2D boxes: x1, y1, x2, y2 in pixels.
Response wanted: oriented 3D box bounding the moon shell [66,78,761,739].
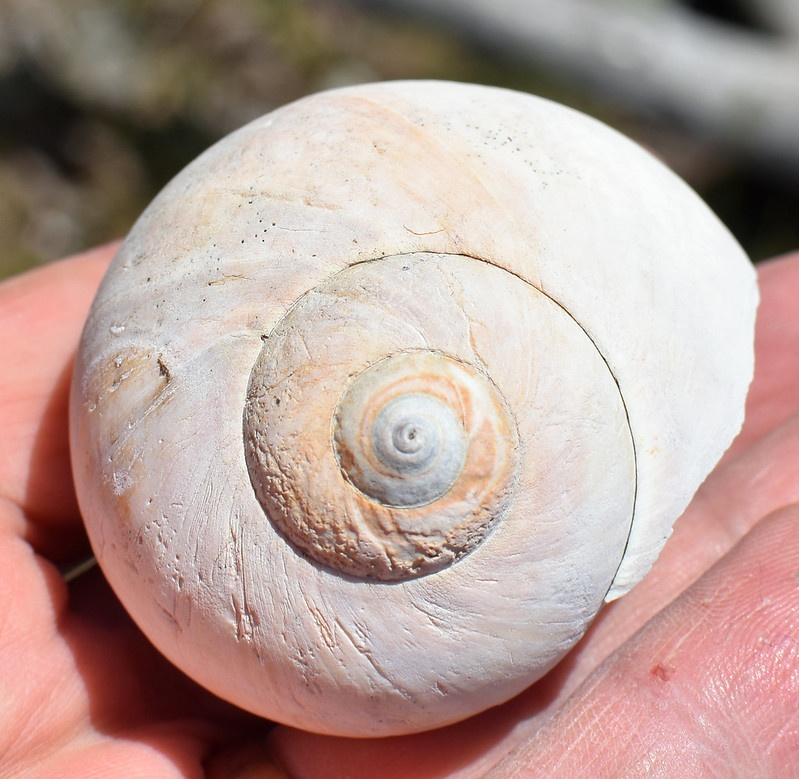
[{"bbox_3d":[0.097,-0.111,1.782,1.231,0.829,0.958,-2,45,6],"label":"moon shell"}]
